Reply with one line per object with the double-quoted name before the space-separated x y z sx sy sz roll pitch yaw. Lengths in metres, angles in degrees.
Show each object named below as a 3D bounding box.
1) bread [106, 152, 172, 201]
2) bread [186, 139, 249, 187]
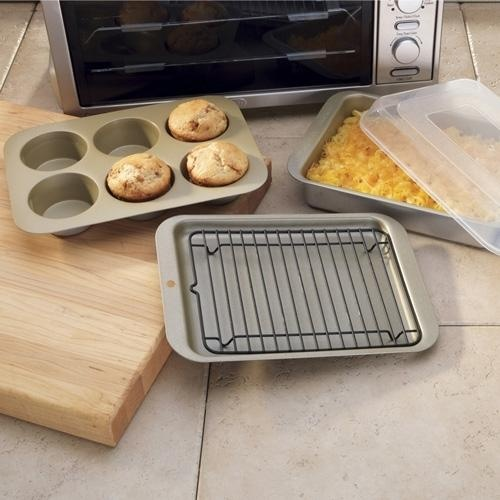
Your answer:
"bread" -0.170 -0.126 0.807 0.102 0.027 0.090 3 59 -1
"bread" -0.055 -0.151 0.832 0.103 0.028 0.095 -15 63 -10
